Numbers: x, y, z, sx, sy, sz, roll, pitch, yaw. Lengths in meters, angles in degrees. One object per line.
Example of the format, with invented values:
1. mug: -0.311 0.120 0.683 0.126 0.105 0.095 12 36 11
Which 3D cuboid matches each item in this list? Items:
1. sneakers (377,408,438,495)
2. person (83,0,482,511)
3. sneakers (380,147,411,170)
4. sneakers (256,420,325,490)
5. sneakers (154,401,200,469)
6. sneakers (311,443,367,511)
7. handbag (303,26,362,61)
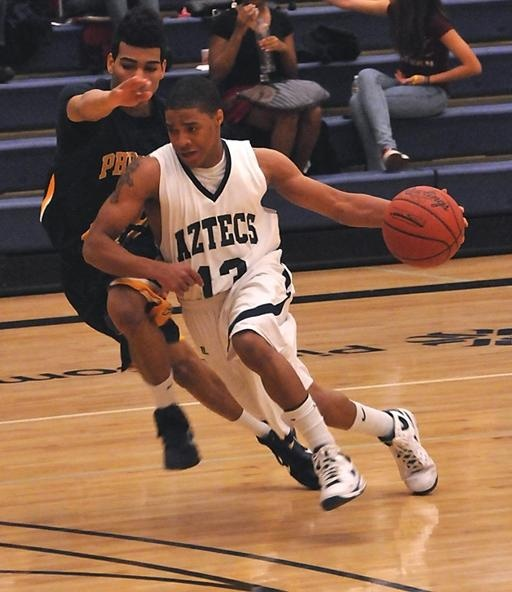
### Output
1. sneakers: 0.336 0.342 1.657 0.083 0.094 0.212 -38 58 20
2. person: 0.040 -0.016 1.621 0.624 0.916 0.560 4 15 36
3. sneakers: 0.805 -0.796 4.329 0.095 0.068 0.167 -20 -6 9
4. sneakers: 0.090 0.368 1.740 0.200 0.084 0.068 40 85 18
5. sneakers: -0.168 0.302 1.649 0.096 0.140 0.056 -19 0 -3
6. sneakers: 0.155 0.335 1.381 0.092 0.094 0.122 -4 11 3
7. handbag: 0.494 -1.584 4.740 0.322 0.113 0.285 2 4 -4
